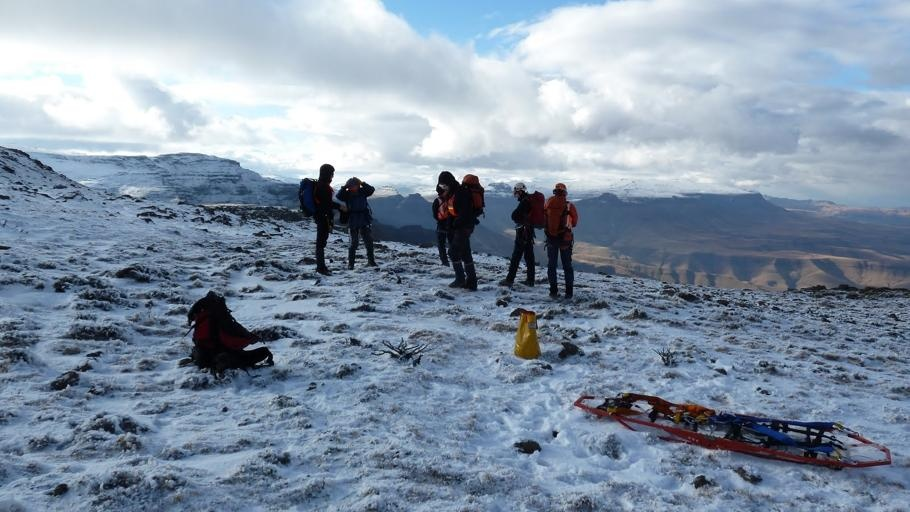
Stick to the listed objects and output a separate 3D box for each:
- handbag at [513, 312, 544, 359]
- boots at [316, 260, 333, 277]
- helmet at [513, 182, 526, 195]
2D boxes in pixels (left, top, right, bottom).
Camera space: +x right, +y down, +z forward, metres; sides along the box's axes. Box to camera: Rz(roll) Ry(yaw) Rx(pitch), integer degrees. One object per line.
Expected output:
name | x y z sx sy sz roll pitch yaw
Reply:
handbag | 1.587 1.690 12.058 0.570 1.000 0.652 1 10 7
boots | -4.125 0.369 16.944 0.426 0.666 0.539 -11 8 -40
helmet | 1.897 -2.012 16.148 0.342 0.292 0.466 2 9 8
